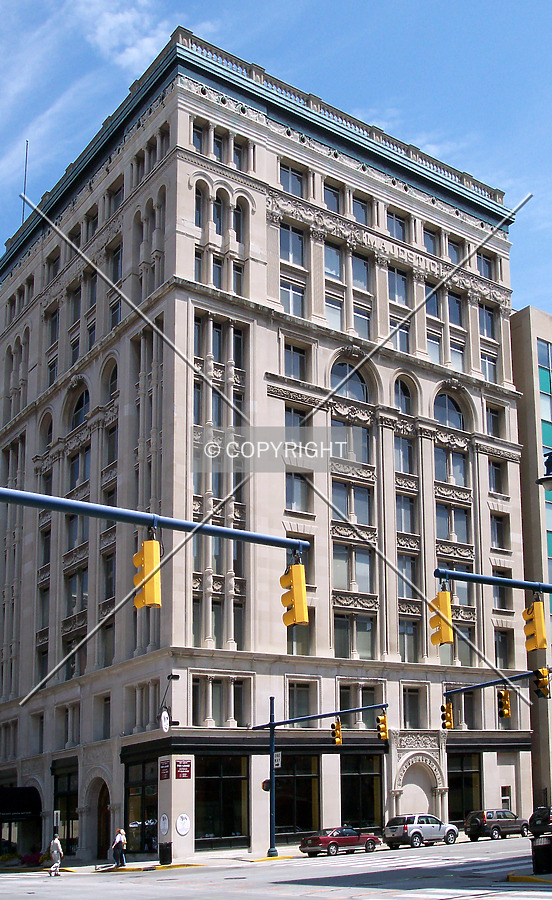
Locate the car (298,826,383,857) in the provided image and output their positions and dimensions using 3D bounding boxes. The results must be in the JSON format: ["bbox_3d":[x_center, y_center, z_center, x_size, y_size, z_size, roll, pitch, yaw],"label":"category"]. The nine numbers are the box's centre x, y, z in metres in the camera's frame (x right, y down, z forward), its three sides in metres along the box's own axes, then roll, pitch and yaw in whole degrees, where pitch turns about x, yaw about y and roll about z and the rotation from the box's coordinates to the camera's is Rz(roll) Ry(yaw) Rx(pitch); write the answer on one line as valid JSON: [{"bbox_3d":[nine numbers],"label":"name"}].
[{"bbox_3d":[2.173,15.551,44.959,2.317,0.784,1.337,8,-19,-35],"label":"car"}]

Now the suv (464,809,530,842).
[{"bbox_3d":[9.716,16.613,50.045,3.310,1.262,1.280,14,-23,-38],"label":"suv"}]

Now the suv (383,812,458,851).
[{"bbox_3d":[5.939,15.758,47.148,2.901,1.196,1.336,6,-16,-36],"label":"suv"}]
